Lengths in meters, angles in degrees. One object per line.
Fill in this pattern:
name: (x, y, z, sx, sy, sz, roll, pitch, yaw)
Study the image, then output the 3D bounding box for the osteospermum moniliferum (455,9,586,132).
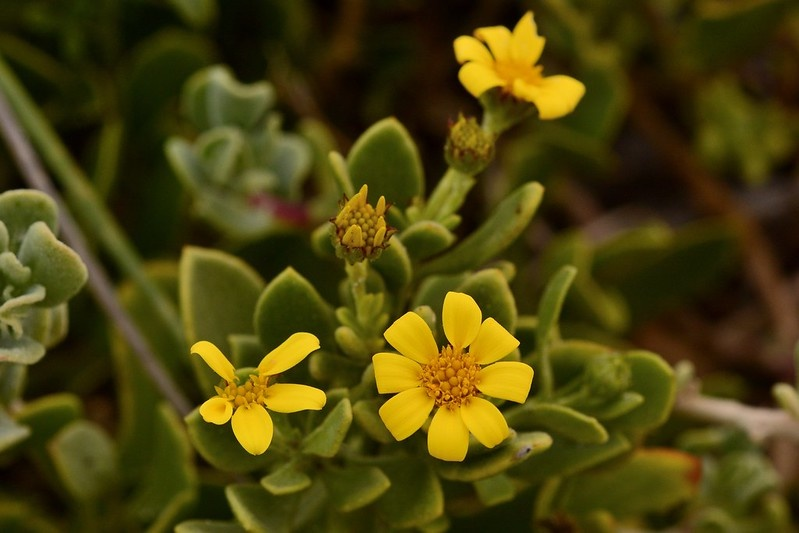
osteospermum moniliferum: (0.179, -0.302, 1.256, 0.170, 0.084, 0.201, -29, 74, -7)

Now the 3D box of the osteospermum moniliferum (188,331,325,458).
osteospermum moniliferum: (-0.205, 0.198, 1.194, 0.193, 0.115, 0.166, -4, 72, 1)
